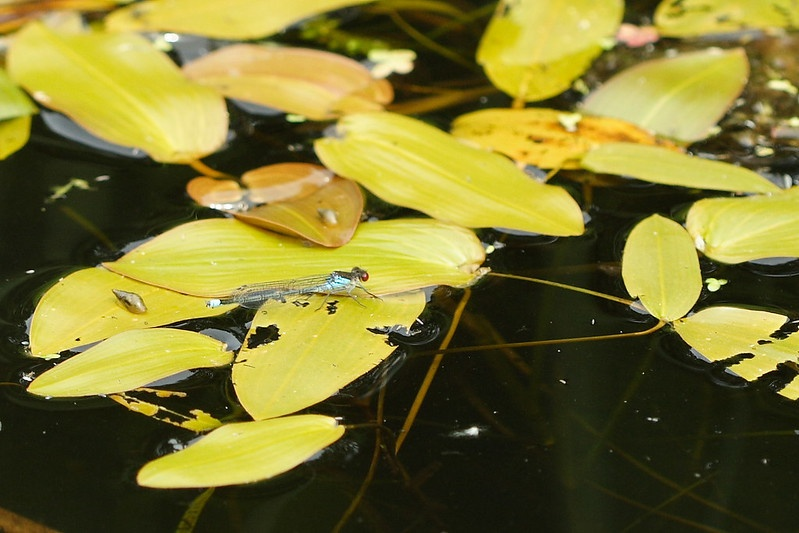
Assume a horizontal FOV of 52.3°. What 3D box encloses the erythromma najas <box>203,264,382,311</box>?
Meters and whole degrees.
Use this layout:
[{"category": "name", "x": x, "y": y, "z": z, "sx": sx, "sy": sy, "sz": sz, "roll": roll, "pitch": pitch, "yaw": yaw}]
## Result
[{"category": "erythromma najas", "x": -0.149, "y": 0.017, "z": 1.122, "sx": 0.240, "sy": 0.066, "sz": 0.051, "roll": -5, "pitch": 50, "yaw": -6}]
